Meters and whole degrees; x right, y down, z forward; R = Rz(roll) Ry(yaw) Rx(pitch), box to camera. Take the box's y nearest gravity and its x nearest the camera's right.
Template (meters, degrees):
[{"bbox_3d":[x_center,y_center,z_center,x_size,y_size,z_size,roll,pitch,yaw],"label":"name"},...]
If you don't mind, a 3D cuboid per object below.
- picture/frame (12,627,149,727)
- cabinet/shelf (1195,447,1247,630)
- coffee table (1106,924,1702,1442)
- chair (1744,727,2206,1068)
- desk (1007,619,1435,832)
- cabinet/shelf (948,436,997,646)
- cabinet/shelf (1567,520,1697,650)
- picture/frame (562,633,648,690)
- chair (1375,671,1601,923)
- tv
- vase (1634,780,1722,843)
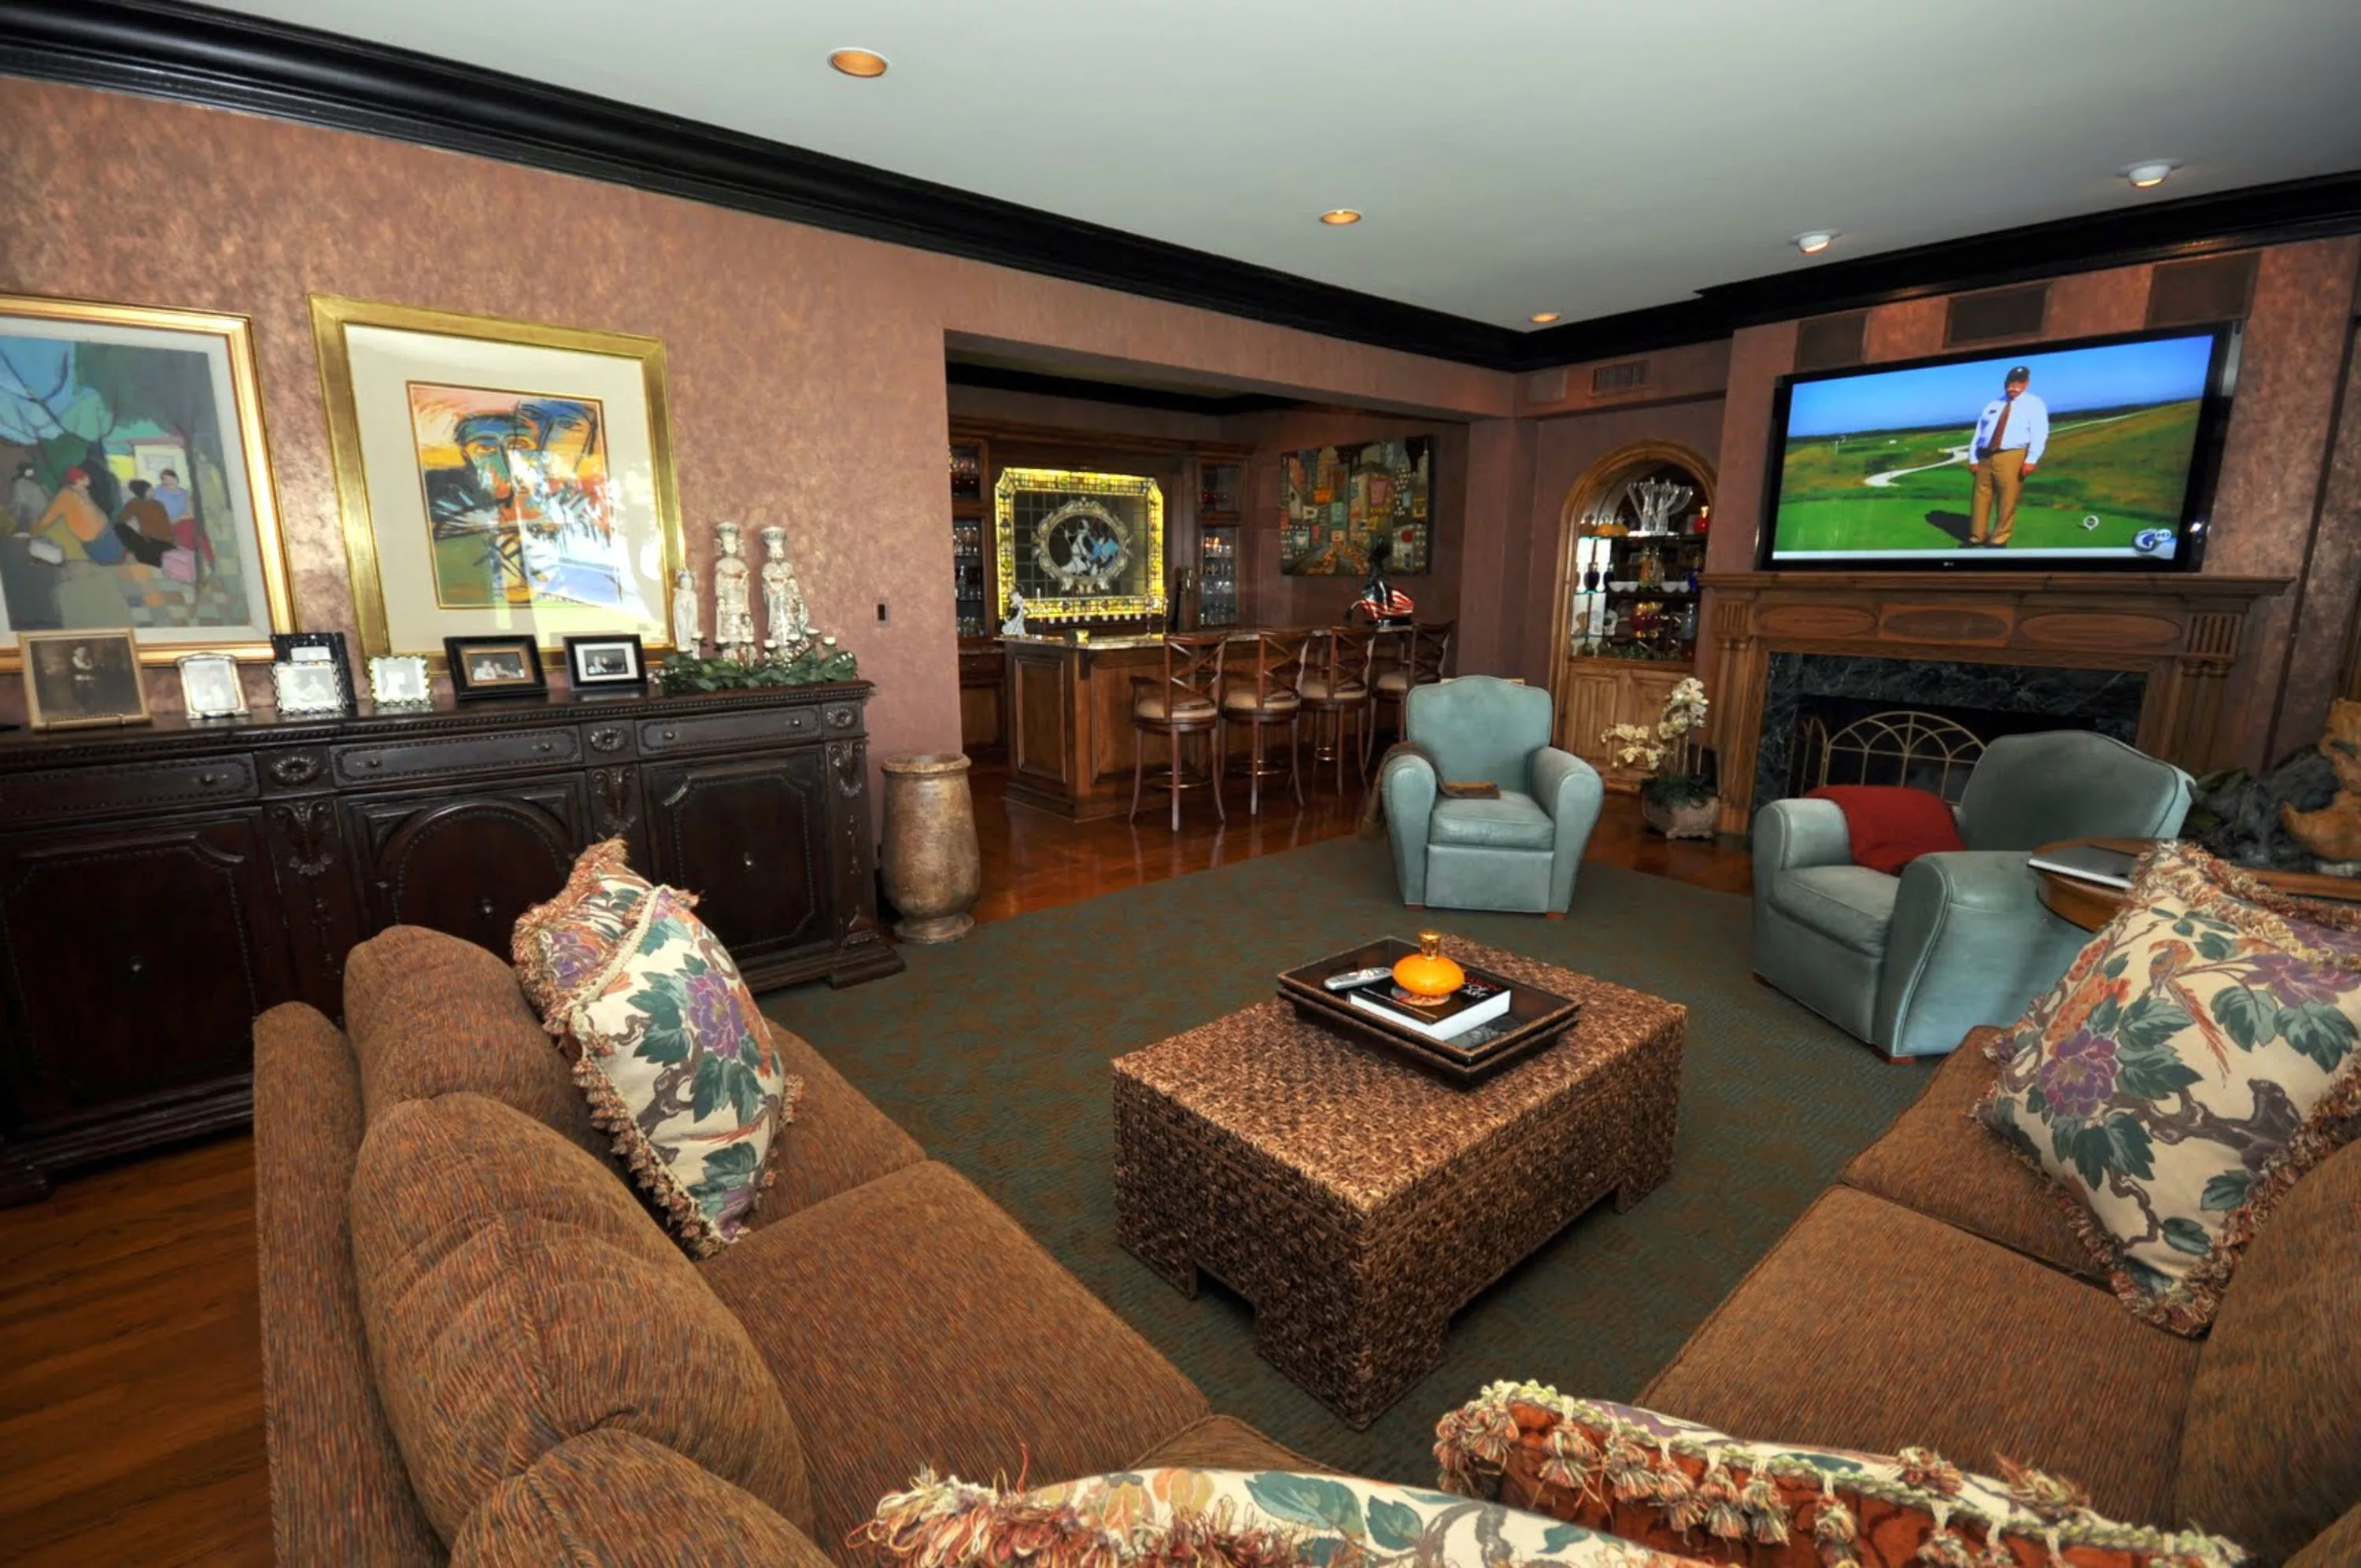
[{"bbox_3d":[-3.387,-0.319,4.080,0.297,0.346,0.028,-3,1,-41],"label":"picture/frame"},{"bbox_3d":[0.274,-1.878,10.297,0.427,1.249,0.265,-5,13,-17],"label":"cabinet/shelf"},{"bbox_3d":[0.391,0.643,3.528,1.560,0.637,1.017,-13,20,-40],"label":"coffee table"},{"bbox_3d":[2.654,0.415,4.853,1.149,1.420,1.312,1,8,2],"label":"chair"},{"bbox_3d":[0.295,-0.426,7.890,2.313,1.009,1.269,-9,14,-34],"label":"desk"},{"bbox_3d":[-1.380,-1.607,8.872,0.320,1.299,0.195,-8,15,-29],"label":"cabinet/shelf"},{"bbox_3d":[2.740,-1.220,8.053,0.241,0.725,0.743,-4,11,-34],"label":"cabinet/shelf"},{"bbox_3d":[-2.097,-0.436,4.823,0.210,0.182,0.021,-4,-1,-39],"label":"picture/frame"},{"bbox_3d":[1.310,0.016,6.048,1.034,1.103,0.972,1,4,9],"label":"chair"},{"bbox_3d":[3.678,-1.502,5.868,0.105,0.732,1.275,-14,17,-42],"label":"tv"},{"bbox_3d":[2.528,0.140,6.809,0.299,0.233,0.302,0,5,-12],"label":"vase"}]
